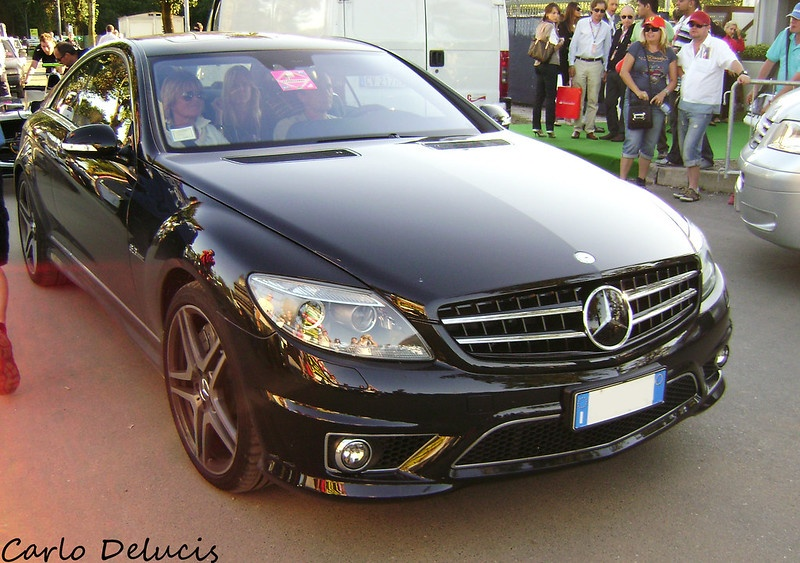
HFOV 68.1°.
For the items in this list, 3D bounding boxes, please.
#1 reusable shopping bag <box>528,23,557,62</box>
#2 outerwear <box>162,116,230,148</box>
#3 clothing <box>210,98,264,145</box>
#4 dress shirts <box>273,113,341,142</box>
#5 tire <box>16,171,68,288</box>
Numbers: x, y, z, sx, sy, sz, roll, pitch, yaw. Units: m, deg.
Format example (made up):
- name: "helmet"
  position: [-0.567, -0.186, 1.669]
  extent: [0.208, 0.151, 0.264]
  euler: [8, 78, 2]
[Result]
- name: "reusable shopping bag"
  position: [2.693, -4.539, 11.293]
  extent: [0.614, 0.741, 0.265]
  euler: [15, 12, 12]
- name: "outerwear"
  position: [-1.140, -0.813, 3.283]
  extent: [0.225, 0.095, 0.238]
  euler: [-10, 57, -28]
- name: "clothing"
  position: [-0.945, -0.941, 3.435]
  extent: [0.242, 0.302, 0.317]
  euler: [-6, 19, -18]
- name: "dress shirts"
  position: [-0.574, -0.912, 3.493]
  extent: [0.294, 0.075, 0.169]
  euler: [-16, 62, -24]
- name: "tire"
  position: [-3.092, -0.457, 5.189]
  extent: [0.325, 1.049, 0.990]
  euler: [-5, 29, -36]
